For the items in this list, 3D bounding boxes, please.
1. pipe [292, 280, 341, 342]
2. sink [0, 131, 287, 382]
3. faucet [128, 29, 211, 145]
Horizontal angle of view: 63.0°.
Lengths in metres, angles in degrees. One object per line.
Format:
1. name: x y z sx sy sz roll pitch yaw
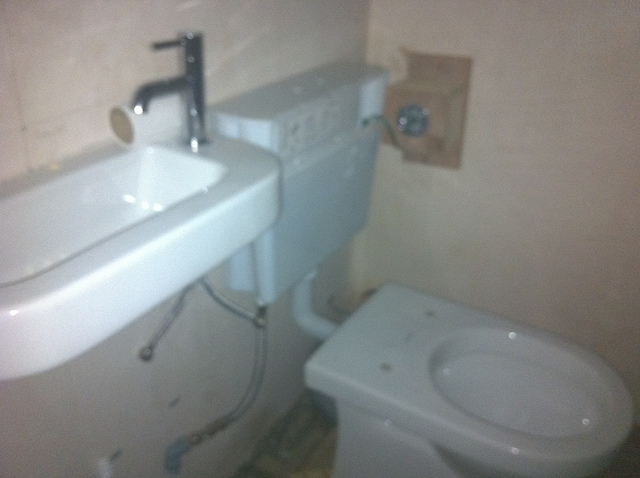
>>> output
1. pipe: -0.017 0.214 1.547 0.170 0.187 0.061 28 45 15
2. sink: -0.331 -0.020 0.893 0.329 0.204 0.520 26 35 34
3. faucet: -0.273 -0.257 0.932 0.078 0.199 0.177 16 30 22
